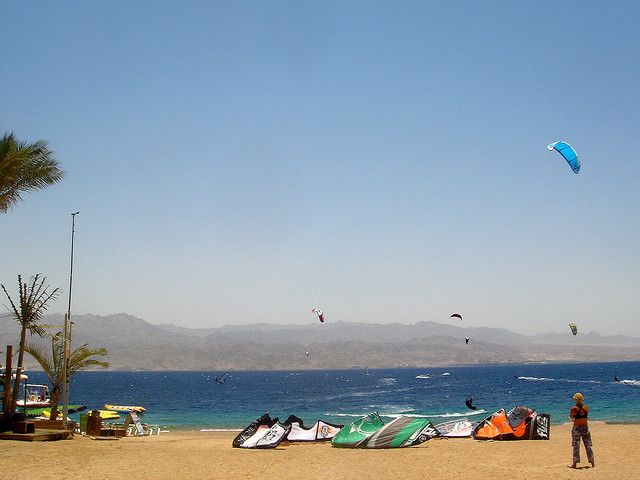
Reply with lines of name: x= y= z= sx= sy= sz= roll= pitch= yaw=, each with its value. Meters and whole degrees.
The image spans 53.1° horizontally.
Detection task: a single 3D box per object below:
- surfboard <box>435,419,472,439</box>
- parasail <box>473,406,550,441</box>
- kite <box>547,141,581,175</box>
surfboard: x=6.594 y=9.509 z=31.535 sx=1.637 sy=0.867 sz=0.336 roll=1 pitch=-47 yaw=-3
parasail: x=8.865 y=8.570 z=29.088 sx=3.903 sy=1.278 sz=3.113 roll=-7 pitch=-9 yaw=16
kite: x=10.928 y=-3.705 z=28.022 sx=0.511 sy=1.803 sz=1.948 roll=-34 pitch=0 yaw=20
